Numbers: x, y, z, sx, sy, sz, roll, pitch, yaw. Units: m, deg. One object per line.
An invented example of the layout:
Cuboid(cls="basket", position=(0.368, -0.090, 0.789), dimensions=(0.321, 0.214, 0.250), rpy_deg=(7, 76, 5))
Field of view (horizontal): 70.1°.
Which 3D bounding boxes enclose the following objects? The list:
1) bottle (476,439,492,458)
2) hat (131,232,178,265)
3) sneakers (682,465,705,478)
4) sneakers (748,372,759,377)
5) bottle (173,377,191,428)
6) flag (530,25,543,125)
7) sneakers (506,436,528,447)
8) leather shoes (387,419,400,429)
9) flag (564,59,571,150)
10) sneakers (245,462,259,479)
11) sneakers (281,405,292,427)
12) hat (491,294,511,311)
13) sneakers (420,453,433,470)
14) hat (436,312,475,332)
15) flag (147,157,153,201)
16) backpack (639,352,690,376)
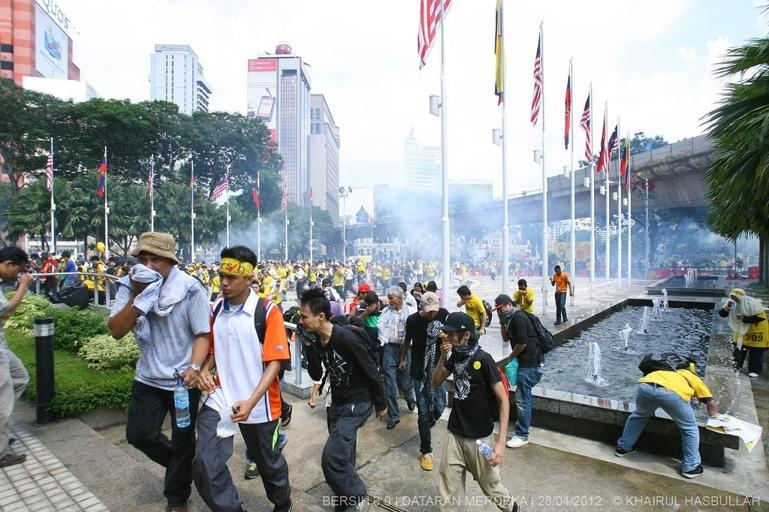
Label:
Cuboid(cls="bottle", position=(1.521, 2.905, 8.305), dimensions=(0.260, 0.245, 0.244), rpy_deg=(-1, 0, -14))
Cuboid(cls="hat", position=(-3.501, -0.163, 8.431), dimensions=(0.482, 0.311, 0.597), rpy_deg=(2, -12, 23))
Cuboid(cls="sneakers", position=(5.219, 3.684, 9.326), dimensions=(0.402, 0.176, 0.153), rpy_deg=(-2, 0, -22))
Cuboid(cls="sneakers", position=(8.447, 2.735, 12.632), dimensions=(0.270, 0.055, 0.116), rpy_deg=(-1, 0, -16))
Cuboid(cls="bottle", position=(-3.024, 2.198, 8.243), dimensions=(0.215, 0.804, 0.320), rpy_deg=(-1, 0, -20))
Cuboid(cls="flag", position=(5.300, -6.246, 19.257), dimensions=(0.387, 2.781, 2.205), rpy_deg=(-1, 0, 14))
Cuboid(cls="sneakers", position=(2.435, 3.440, 10.151), dimensions=(0.452, 0.171, 0.167), rpy_deg=(-2, -12, -19))
Cuboid(cls="leather shoes", position=(0.135, 3.263, 10.664), dimensions=(0.101, 0.131, 0.304), rpy_deg=(-47, -19, 32))
Cuboid(cls="flag", position=(7.219, -5.876, 21.742), dimensions=(0.284, 2.643, 1.183), rpy_deg=(-1, 0, 18))
Cuboid(cls="sneakers", position=(-2.244, 3.625, 9.235), dimensions=(0.195, 0.229, 0.521), rpy_deg=(-1, -22, -3))
Cuboid(cls="sneakers", position=(-1.877, 3.043, 10.544), dimensions=(0.152, 0.518, 0.249), rpy_deg=(-2, 7, -20))
Cuboid(cls="hat", position=(2.369, 0.918, 11.084), dimensions=(0.237, 0.201, 0.339), rpy_deg=(-14, 2, -9))
Cuboid(cls="sneakers", position=(0.721, 3.545, 9.550), dimensions=(0.214, 0.248, 0.299), rpy_deg=(-1, 0, 3))
Cuboid(cls="hat", position=(1.150, 1.006, 8.532), dimensions=(0.400, 0.228, 0.301), rpy_deg=(2, -4, 3))
Cuboid(cls="flag", position=(-15.133, -4.983, 35.721), dimensions=(0.185, 2.921, 0.935), rpy_deg=(-1, 0, -13))
Cuboid(cls="backpack", position=(5.070, 1.942, 9.982), dimensions=(0.818, 0.365, 0.651), rpy_deg=(-3, -9, 2))
